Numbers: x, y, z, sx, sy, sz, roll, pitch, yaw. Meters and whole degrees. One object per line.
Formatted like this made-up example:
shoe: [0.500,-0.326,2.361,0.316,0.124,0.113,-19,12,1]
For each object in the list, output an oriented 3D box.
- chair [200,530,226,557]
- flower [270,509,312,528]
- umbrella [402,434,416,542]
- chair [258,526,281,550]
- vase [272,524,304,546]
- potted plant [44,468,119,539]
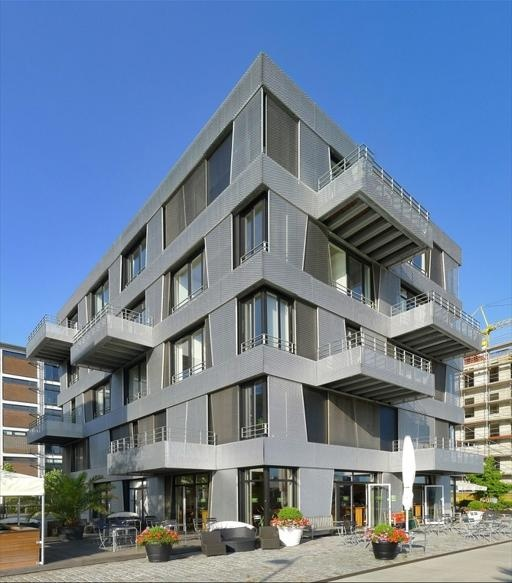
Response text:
chair: [-1.469,8.433,26.168,0.614,0.847,0.739,6,-17,-22]
flower: [1.171,8.205,28.215,0.659,0.598,0.967,5,-20,-13]
umbrella: [5.557,7.493,28.427,0.586,4.877,0.662,-1,13,2]
chair: [0.478,8.444,26.897,0.557,0.792,0.705,3,-16,-12]
vase: [1.267,8.715,27.820,0.593,0.541,0.698,-11,-31,22]
potted plant: [-7.975,9.326,33.986,2.281,2.934,2.543,-7,-11,-25]
